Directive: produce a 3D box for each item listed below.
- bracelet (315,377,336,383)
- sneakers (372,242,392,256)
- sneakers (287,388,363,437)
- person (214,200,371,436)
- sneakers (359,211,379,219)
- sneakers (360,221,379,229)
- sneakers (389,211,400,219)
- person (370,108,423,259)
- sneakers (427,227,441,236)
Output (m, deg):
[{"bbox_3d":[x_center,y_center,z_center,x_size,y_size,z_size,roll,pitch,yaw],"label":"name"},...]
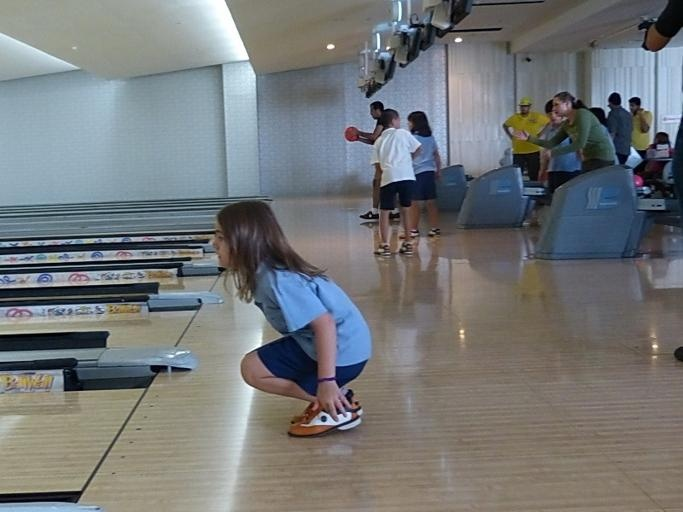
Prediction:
[{"bbox_3d":[-0.052,0.425,2.063,0.042,0.009,0.040,-2,-4,5],"label":"bracelet"},{"bbox_3d":[0.383,-0.070,5.512,0.073,0.087,0.211,1,7,-4],"label":"sneakers"},{"bbox_3d":[-0.056,0.565,2.196,0.304,0.131,0.107,-4,14,-10],"label":"sneakers"},{"bbox_3d":[-0.174,0.226,2.253,0.569,0.820,0.468,-2,-2,7],"label":"person"},{"bbox_3d":[0.373,-0.604,8.664,0.340,0.137,0.116,1,5,21],"label":"sneakers"},{"bbox_3d":[0.379,-0.428,8.022,0.302,0.114,0.099,2,0,-1],"label":"sneakers"},{"bbox_3d":[0.790,-0.604,8.779,0.152,0.164,0.401,-2,-3,6],"label":"sneakers"},{"bbox_3d":[0.509,-0.693,5.518,0.431,1.322,0.592,-1,12,21],"label":"person"},{"bbox_3d":[1.025,-0.269,6.558,0.124,0.089,0.178,-4,11,4],"label":"sneakers"}]
